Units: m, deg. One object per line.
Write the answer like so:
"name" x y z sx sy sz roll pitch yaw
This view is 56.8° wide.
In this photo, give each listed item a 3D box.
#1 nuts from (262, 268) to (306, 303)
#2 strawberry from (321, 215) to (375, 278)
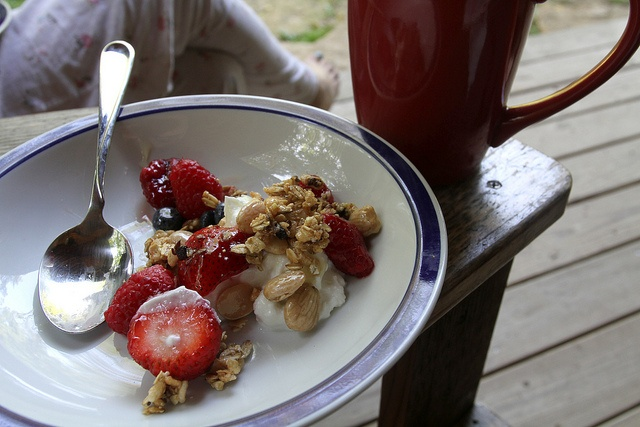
"nuts" -0.069 0.126 0.986 0.085 0.028 0.055 -10 59 -32
"strawberry" 0.049 0.058 0.989 0.082 0.080 0.157 -3 30 5
